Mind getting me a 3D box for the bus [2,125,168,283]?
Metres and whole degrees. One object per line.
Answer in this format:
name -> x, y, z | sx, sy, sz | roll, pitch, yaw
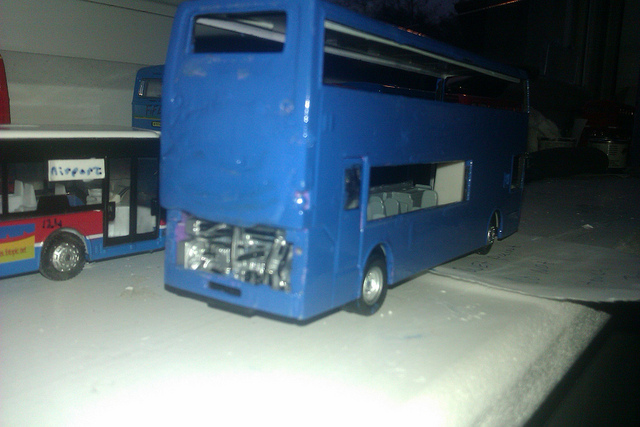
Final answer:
bus -> -5.073, -0.430, 9.700 | 2.471, 2.635, 4.067 | 9, 12, 37
